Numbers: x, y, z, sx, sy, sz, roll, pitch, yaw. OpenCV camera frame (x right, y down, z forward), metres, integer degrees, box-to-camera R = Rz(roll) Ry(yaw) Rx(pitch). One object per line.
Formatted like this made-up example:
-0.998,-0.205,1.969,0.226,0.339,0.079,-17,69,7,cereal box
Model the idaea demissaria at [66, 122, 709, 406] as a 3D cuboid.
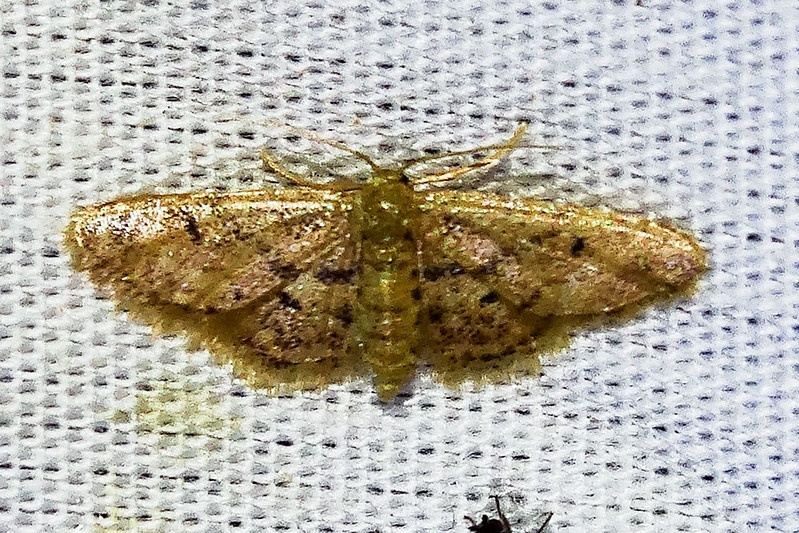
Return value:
-0.007,-0.002,1.357,0.565,0.055,0.242,-12,82,-5,idaea demissaria
